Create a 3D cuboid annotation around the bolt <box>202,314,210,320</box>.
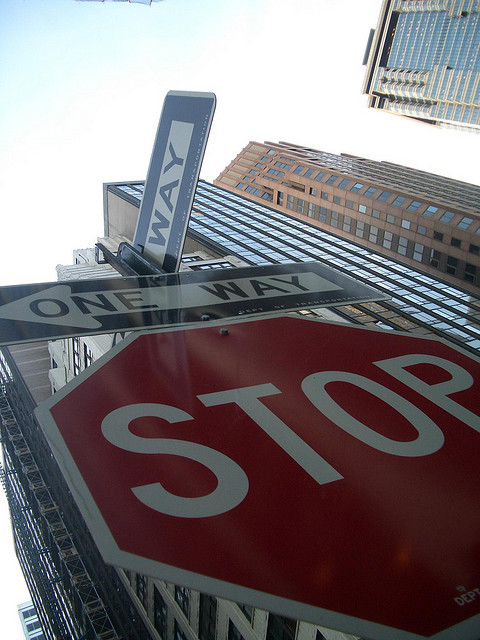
[{"bbox_3d":[-0.523,-0.044,7.231,0.103,0.054,0.075,5,-9,-9],"label":"bolt"}]
